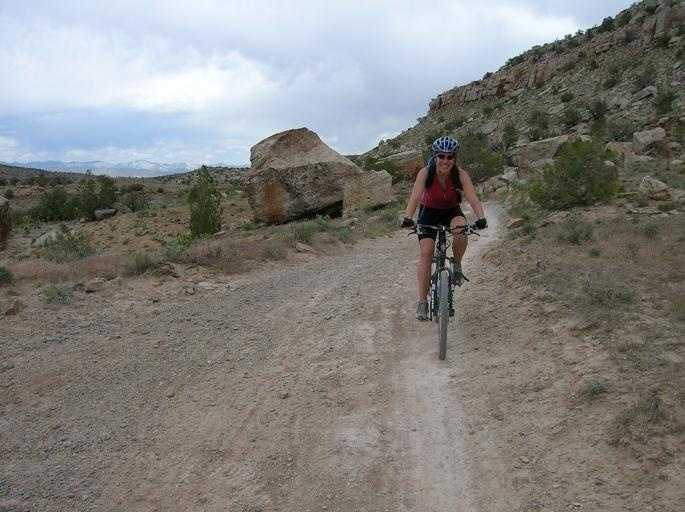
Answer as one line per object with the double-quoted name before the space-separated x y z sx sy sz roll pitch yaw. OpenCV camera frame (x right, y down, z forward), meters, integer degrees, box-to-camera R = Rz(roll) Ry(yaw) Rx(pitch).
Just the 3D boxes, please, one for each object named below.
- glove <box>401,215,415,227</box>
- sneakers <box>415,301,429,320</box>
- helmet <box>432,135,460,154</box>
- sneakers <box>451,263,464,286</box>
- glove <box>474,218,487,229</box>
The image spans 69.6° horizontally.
"glove" 0.963 -0.491 7.312 0.198 0.217 0.384 -4 13 8
"sneakers" 1.210 0.842 7.485 0.164 0.281 0.327 -2 13 15
"helmet" 1.537 -1.641 7.371 0.253 0.153 0.379 0 24 7
"sneakers" 1.818 0.301 7.744 0.200 0.274 0.378 -3 -7 5
"glove" 2.032 -0.462 7.165 0.126 0.165 0.167 -6 11 -23
